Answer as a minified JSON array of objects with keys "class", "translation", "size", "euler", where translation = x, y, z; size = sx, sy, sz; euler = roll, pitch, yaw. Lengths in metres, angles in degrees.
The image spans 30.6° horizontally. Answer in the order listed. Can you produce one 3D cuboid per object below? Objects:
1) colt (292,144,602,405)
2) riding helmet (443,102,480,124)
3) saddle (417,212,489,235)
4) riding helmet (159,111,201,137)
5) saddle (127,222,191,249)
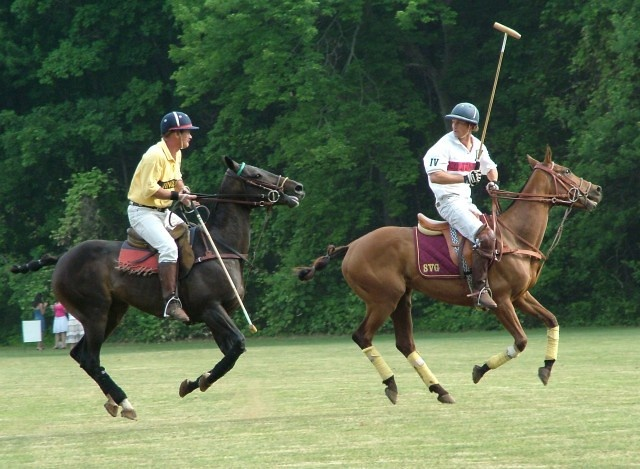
[{"class":"colt","translation":[2.467,0.721,22.021],"size":[4.865,4.421,3.946],"euler":[3,-6,-29]},{"class":"riding helmet","translation":[2.617,-2.152,20.541],"size":[0.639,0.243,0.417],"euler":[12,6,-19]},{"class":"saddle","translation":[2.220,-0.188,20.787],"size":[0.863,0.228,0.523],"euler":[2,0,-2]},{"class":"riding helmet","translation":[-2.440,-1.904,20.054],"size":[0.802,0.307,0.457],"euler":[-7,17,-4]},{"class":"saddle","translation":[-2.702,0.033,19.881],"size":[1.085,0.414,0.682],"euler":[-7,9,-26]}]
